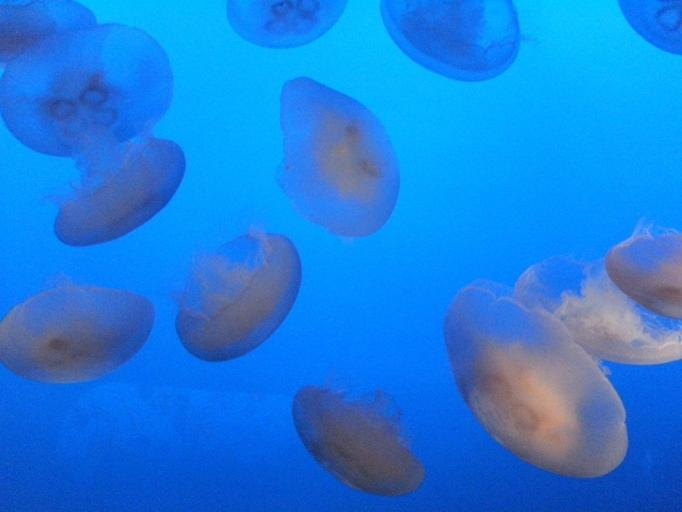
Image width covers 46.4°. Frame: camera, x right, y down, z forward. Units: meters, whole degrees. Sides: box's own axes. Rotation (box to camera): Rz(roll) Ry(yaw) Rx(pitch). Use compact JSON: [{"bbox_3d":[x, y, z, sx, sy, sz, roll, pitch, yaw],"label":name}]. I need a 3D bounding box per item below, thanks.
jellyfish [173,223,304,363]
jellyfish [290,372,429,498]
[{"bbox_3d":[-0.313,0.109,2.411,0.316,0.128,0.387,35,-90,-2],"label":"jellyfish"},{"bbox_3d":[0.053,0.560,2.459,0.327,0.467,0.140,-44,-31,-33],"label":"jellyfish"}]
